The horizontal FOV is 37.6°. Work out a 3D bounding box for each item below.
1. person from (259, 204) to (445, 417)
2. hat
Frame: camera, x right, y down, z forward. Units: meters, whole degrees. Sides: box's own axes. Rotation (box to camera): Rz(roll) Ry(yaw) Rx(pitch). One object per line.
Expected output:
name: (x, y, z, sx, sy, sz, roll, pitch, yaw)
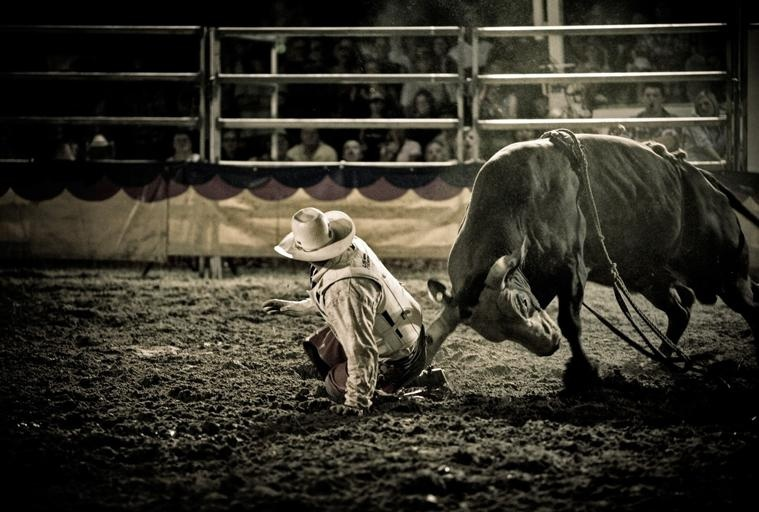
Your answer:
person: (-0.263, 0.552, 10.745, 0.888, 1.533, 1.096, -17, 44, 12)
hat: (-0.597, -0.146, 9.904, 0.573, 0.245, 0.503, 9, 53, 32)
